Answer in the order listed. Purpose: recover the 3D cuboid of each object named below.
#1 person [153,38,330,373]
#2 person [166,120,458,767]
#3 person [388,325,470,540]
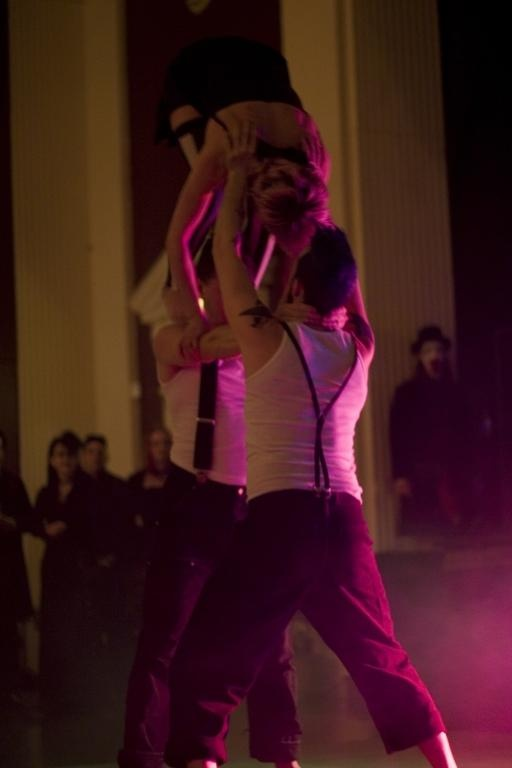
[{"bbox_3d":[-0.044,-0.516,2.396,0.571,0.779,0.295,0,-2,-30],"label":"person"},{"bbox_3d":[0.095,0.128,2.036,0.626,1.456,0.338,-2,-2,-8],"label":"person"},{"bbox_3d":[0.694,0.184,3.617,0.374,1.050,0.272,5,33,14],"label":"person"}]
